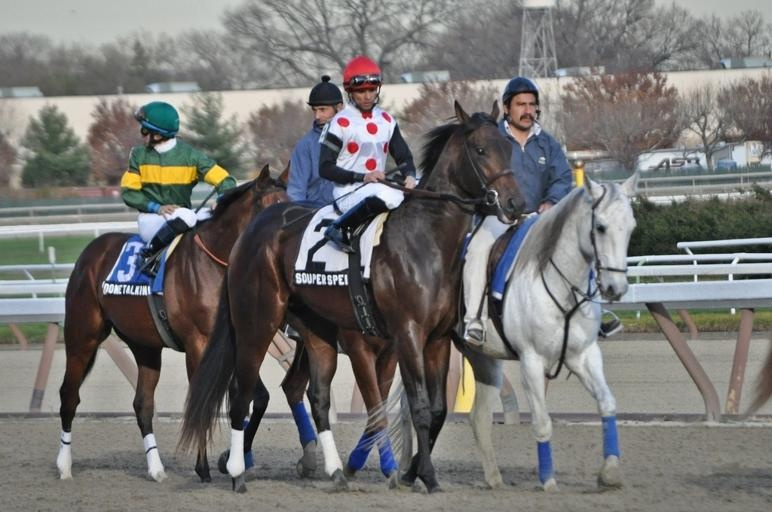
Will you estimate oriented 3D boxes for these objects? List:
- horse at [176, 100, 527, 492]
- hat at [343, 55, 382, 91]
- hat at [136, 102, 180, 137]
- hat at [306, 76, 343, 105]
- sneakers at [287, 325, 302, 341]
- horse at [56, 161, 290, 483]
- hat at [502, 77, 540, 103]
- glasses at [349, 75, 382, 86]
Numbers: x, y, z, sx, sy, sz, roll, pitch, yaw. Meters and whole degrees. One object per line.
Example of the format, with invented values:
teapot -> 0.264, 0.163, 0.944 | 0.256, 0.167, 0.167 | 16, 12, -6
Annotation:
horse -> -0.412, 0.742, 21.379 | 1.814, 4.911, 6.499 | 8, -11, -44
hat -> -0.307, -2.535, 20.600 | 0.489, 0.424, 0.469 | -7, 30, -9
hat -> -3.100, -1.975, 21.225 | 0.596, 0.416, 0.442 | 7, 36, 0
hat -> -0.822, -2.380, 21.764 | 0.391, 0.293, 0.432 | 0, 4, 6
sneakers -> -1.258, 1.079, 21.547 | 0.242, 0.085, 0.167 | 22, 27, -31
horse -> -2.695, 1.027, 21.221 | 5.066, 4.278, 1.372 | -9, -12, 43
hat -> 1.843, -2.310, 20.915 | 0.468, 0.337, 0.250 | 0, 8, 8
glasses -> -0.258, -2.384, 20.460 | 0.419, 0.146, 0.079 | -2, 8, -10
